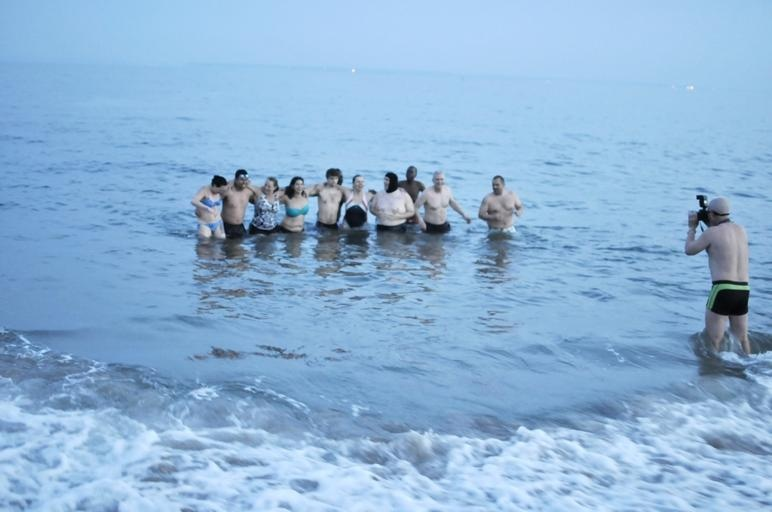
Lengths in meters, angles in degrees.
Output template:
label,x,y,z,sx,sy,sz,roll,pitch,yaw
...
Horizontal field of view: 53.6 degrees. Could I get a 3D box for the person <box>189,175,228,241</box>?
label,x,y,z,sx,sy,sz,roll,pitch,yaw
person,-4.098,-1.129,17.788,0.782,1.426,0.450,0,11,-11

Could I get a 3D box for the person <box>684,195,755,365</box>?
label,x,y,z,sx,sy,sz,roll,pitch,yaw
person,5.857,0.339,13.320,1.212,2.662,0.712,7,11,24

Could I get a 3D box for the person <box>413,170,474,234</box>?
label,x,y,z,sx,sy,sz,roll,pitch,yaw
person,1.281,-1.333,19.144,1.100,1.516,0.716,2,10,2

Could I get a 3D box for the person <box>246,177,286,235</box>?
label,x,y,z,sx,sy,sz,roll,pitch,yaw
person,-2.907,-1.192,18.273,0.725,1.368,0.499,0,11,-10

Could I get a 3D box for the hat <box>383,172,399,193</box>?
label,x,y,z,sx,sy,sz,roll,pitch,yaw
hat,0.070,-1.791,18.861,0.413,0.555,0.466,6,3,45

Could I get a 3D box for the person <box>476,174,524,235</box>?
label,x,y,z,sx,sy,sz,roll,pitch,yaw
person,2.821,-1.281,18.999,1.002,1.400,0.713,3,10,6

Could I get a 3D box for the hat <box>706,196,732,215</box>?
label,x,y,z,sx,sy,sz,roll,pitch,yaw
hat,5.813,-0.862,13.354,0.283,0.289,0.362,5,22,-18

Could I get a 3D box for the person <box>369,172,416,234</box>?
label,x,y,z,sx,sy,sz,roll,pitch,yaw
person,0.158,-1.310,18.862,1.154,1.406,0.365,2,10,-2
